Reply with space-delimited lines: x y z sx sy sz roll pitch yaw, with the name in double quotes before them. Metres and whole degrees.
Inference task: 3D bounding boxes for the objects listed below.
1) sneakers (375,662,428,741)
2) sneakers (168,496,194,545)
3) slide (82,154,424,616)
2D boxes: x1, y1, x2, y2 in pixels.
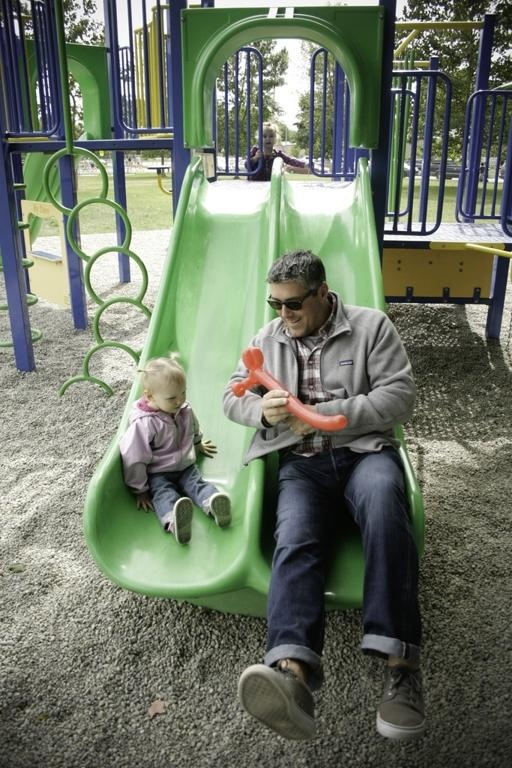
"sneakers" 0.304 0.638 1.160 0.082 0.087 0.238 2 -4 20
"sneakers" -0.207 0.366 1.572 0.050 0.145 0.057 0 6 -34
"slide" -0.054 -0.045 2.296 0.822 0.527 1.965 0 53 9
